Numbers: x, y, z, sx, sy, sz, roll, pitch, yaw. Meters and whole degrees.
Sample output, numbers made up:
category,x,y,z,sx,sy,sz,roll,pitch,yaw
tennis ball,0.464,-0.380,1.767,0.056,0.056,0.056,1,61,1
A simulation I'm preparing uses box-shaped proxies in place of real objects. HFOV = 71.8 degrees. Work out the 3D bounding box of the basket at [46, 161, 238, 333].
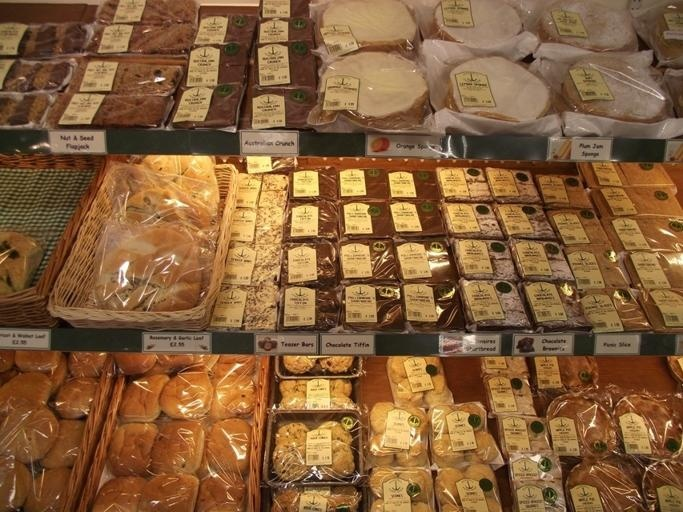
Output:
category,x,y,z,sx,sy,sz,roll,pitch,yaw
basket,-0.749,-0.006,1.699,0.504,0.148,0.592,2,60,0
